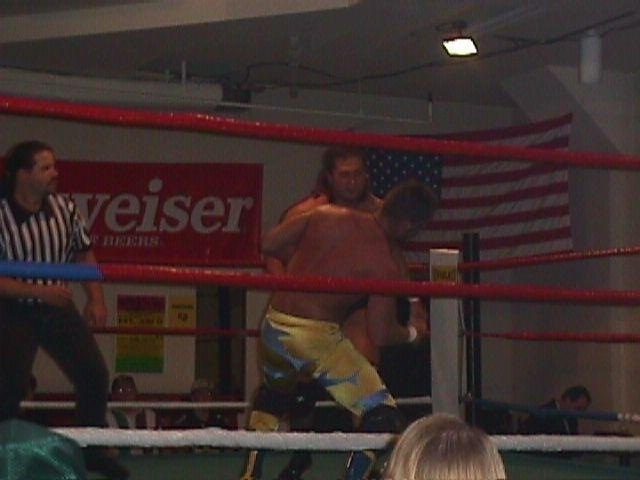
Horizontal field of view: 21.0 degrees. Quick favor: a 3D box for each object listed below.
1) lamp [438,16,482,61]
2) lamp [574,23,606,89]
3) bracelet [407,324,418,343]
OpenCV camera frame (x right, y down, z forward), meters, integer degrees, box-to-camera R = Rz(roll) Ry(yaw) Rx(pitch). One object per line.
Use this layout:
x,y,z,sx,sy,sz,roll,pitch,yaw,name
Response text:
1.041,-1.524,13.268,0.272,0.284,0.064,-5,3,-23,lamp
2.054,-1.399,13.237,0.147,0.384,0.193,0,-7,7,lamp
0.603,0.638,11.509,0.088,0.088,0.090,1,4,-28,bracelet
